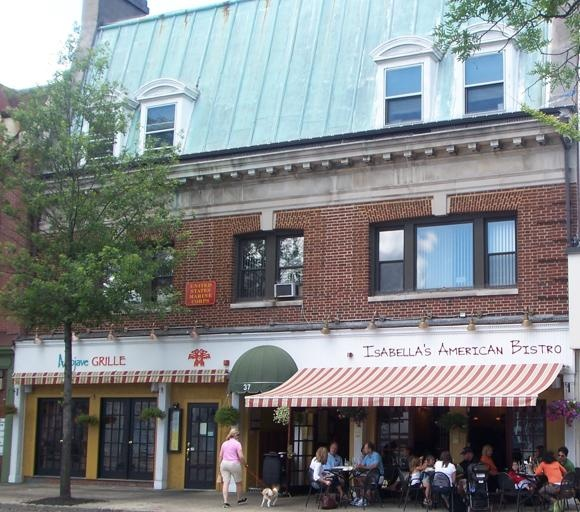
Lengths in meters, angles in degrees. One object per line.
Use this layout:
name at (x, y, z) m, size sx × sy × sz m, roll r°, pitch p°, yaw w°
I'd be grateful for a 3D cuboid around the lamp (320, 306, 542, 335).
lamp at (3.876, 1.729, 30.542) m, size 4.644 × 0.548 × 0.414 m, roll -6°, pitch -13°, yaw 40°

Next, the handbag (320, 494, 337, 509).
handbag at (0.947, 6.115, 29.037) m, size 0.330 × 0.266 × 0.351 m, roll 1°, pitch 4°, yaw 11°

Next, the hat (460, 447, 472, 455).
hat at (4.348, 4.907, 29.258) m, size 0.266 × 0.157 × 0.210 m, roll -2°, pitch -4°, yaw 15°

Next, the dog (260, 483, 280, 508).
dog at (-0.541, 6.099, 29.433) m, size 0.392 × 0.509 × 0.840 m, roll -1°, pitch -12°, yaw -2°
